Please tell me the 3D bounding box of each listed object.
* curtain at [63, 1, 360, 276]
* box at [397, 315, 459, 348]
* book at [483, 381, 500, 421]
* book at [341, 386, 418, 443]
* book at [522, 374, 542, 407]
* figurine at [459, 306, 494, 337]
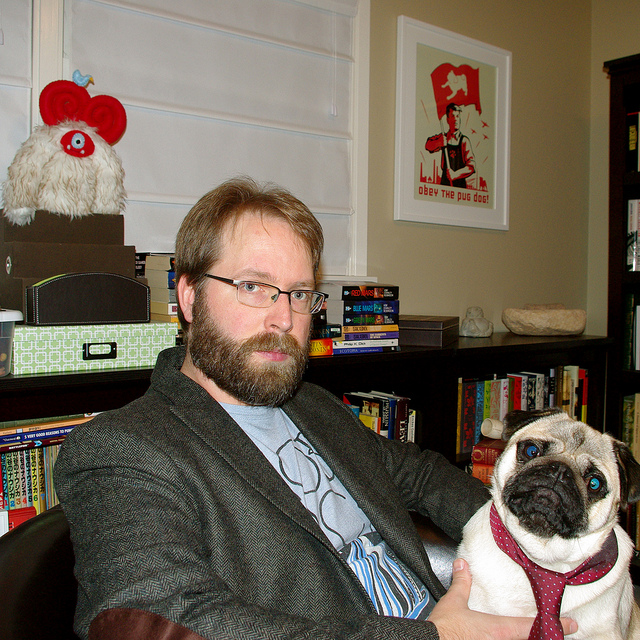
[{"bbox_3d":[-0.444,-0.712,2.143,1.048,1.378,0.130,-4,2,-37],"label":"curtain"},{"bbox_3d":[0.482,0.050,2.600,0.259,0.121,0.369,2,6,13],"label":"box"},{"bbox_3d":[0.808,0.388,2.772,0.101,0.190,0.153,0,-4,20],"label":"book"},{"bbox_3d":[0.228,0.365,2.214,0.122,0.231,0.203,-13,18,-35],"label":"book"},{"bbox_3d":[1.054,0.333,2.906,0.105,0.179,0.161,3,9,26],"label":"book"},{"bbox_3d":[0.778,0.014,2.910,0.130,0.133,0.136,-5,-3,40],"label":"figurine"}]
